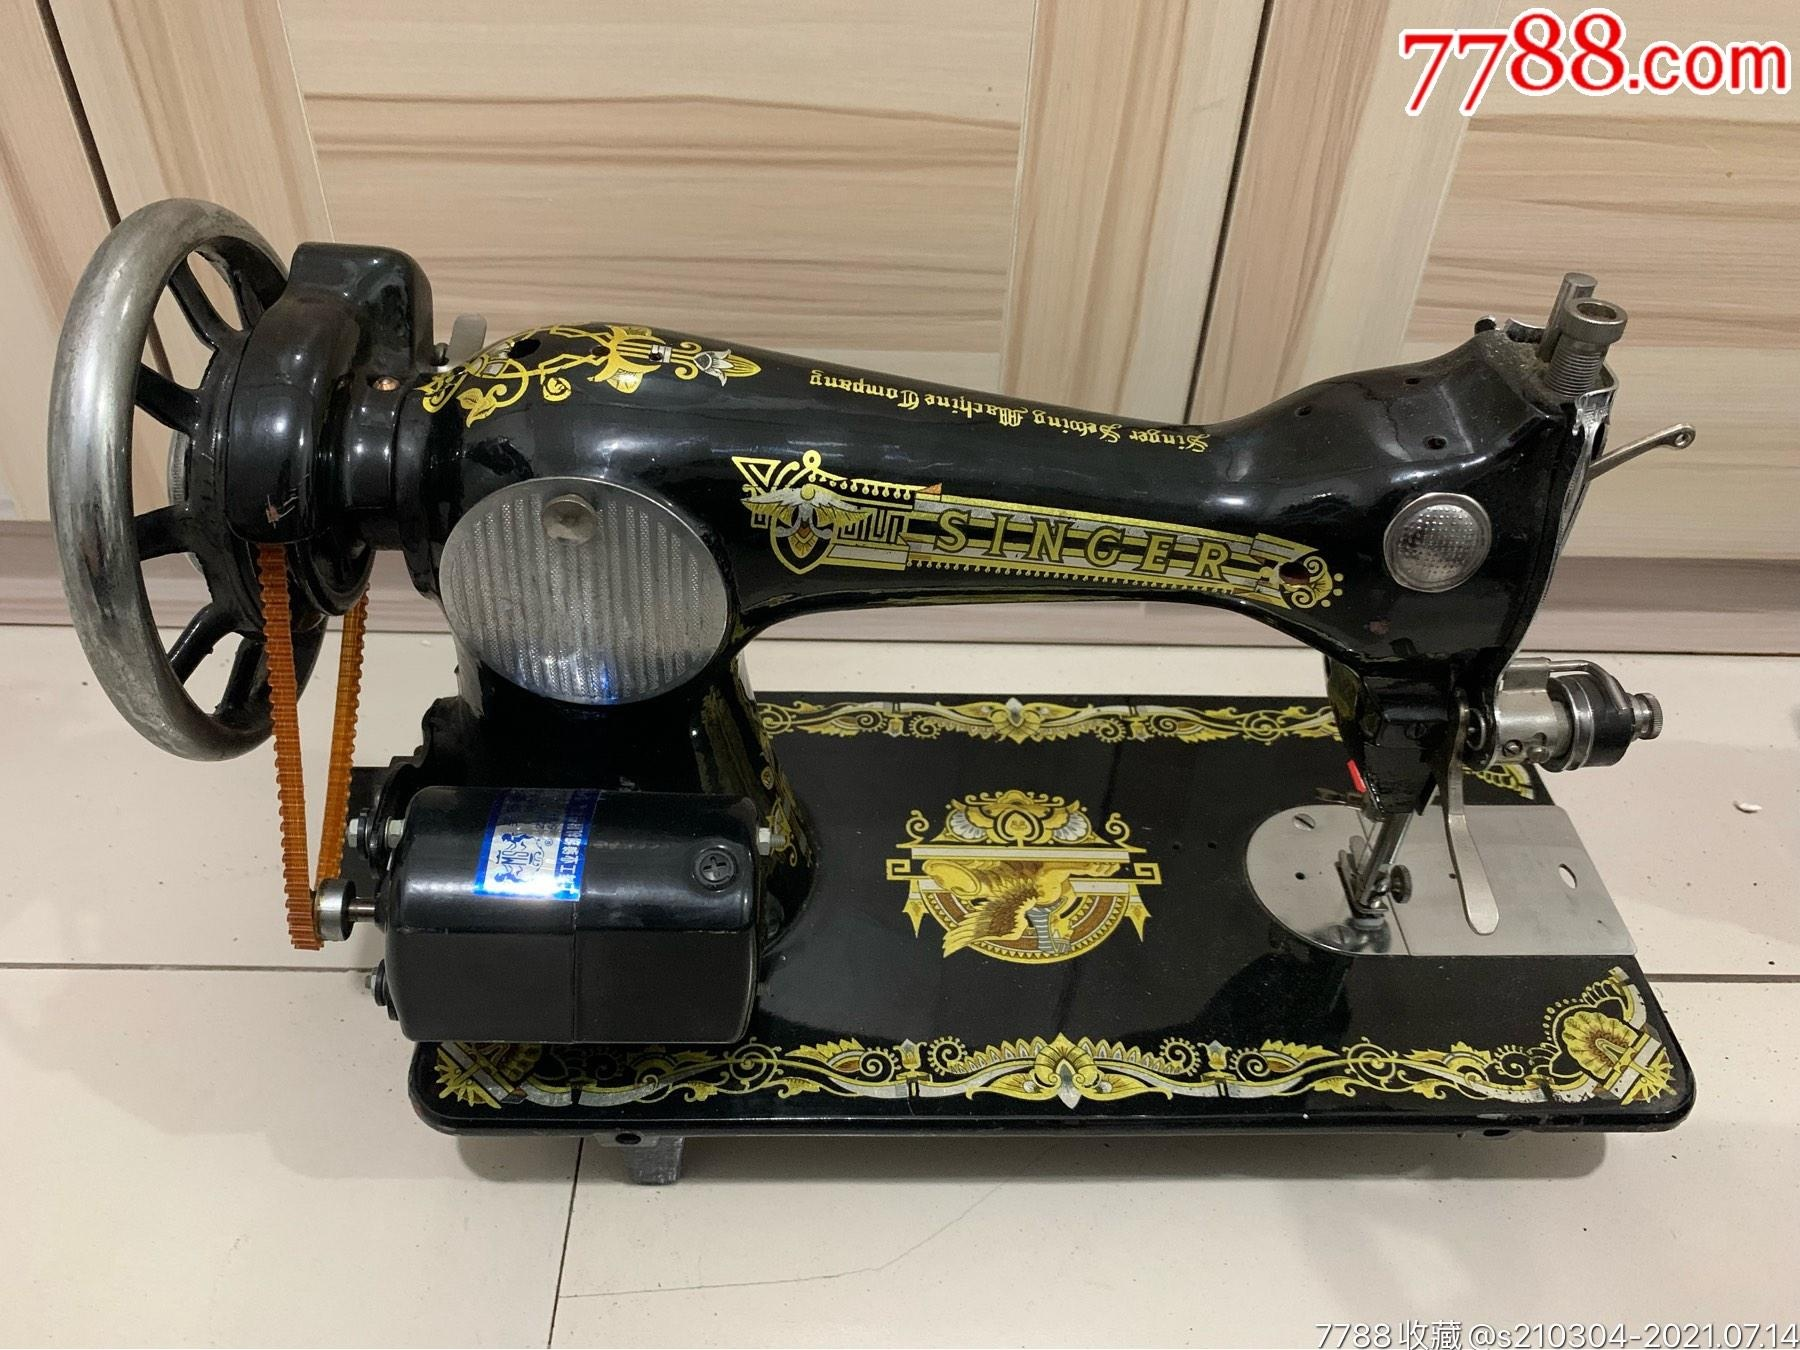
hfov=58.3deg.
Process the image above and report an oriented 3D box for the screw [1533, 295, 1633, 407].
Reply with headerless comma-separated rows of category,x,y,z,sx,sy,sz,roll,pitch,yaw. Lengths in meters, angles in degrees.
screw,0.681,-0.324,1.608,0.059,0.089,0.063,30,48,27
